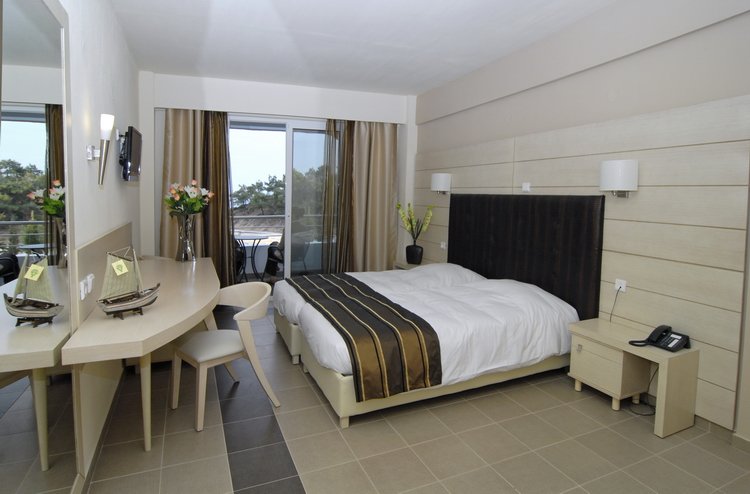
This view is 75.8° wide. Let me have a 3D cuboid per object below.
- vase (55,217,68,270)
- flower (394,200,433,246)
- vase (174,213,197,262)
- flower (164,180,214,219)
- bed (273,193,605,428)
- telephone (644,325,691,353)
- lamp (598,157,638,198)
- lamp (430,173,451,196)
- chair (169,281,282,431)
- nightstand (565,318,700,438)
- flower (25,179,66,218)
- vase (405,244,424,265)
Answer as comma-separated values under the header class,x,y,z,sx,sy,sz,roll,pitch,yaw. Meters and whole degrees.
class,x,y,z,sx,sy,sz,roll,pitch,yaw
vase,-1.938,-0.025,2.970,0.039,0.314,0.111,-4,11,-17
flower,0.575,-0.375,7.145,0.638,0.610,0.600,1,3,-9
vase,-2.140,-0.114,5.404,0.207,0.513,0.317,-5,11,-22
flower,-2.160,-0.539,5.496,0.438,0.306,0.497,-10,-4,34
bed,0.479,0.347,5.080,2.771,1.808,2.263,-4,10,-22
telephone,2.402,0.755,3.918,0.209,0.100,0.256,-12,18,-27
lamp,2.173,-0.604,4.271,0.231,0.339,0.295,-10,14,-44
lamp,0.862,-0.847,6.468,0.279,0.274,0.261,0,8,-1
chair,-1.305,0.864,4.139,0.730,0.958,0.747,-3,5,-42
nightstand,2.208,1.102,4.156,0.426,0.714,0.903,-7,12,-34
flower,-1.932,-0.275,2.837,0.213,0.168,0.191,-23,13,-21
vase,0.578,0.115,6.972,0.202,0.335,0.243,-10,15,-43
